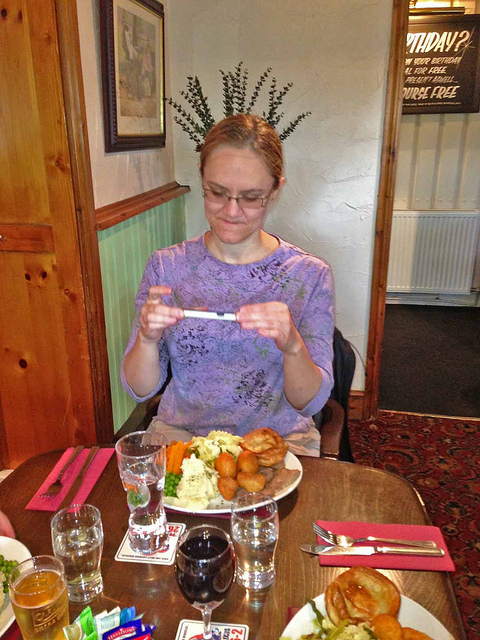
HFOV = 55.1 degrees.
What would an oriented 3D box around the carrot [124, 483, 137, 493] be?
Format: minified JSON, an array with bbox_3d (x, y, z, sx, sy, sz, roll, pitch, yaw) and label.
[{"bbox_3d":[-0.170,0.263,0.722,0.016,0.016,0.006,-3,2,32],"label":"carrot"}]

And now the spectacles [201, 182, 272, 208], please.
[{"bbox_3d":[-0.014,-0.328,1.212,0.152,0.057,0.093,3,14,11],"label":"spectacles"}]

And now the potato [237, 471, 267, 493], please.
[{"bbox_3d":[0.019,0.293,0.844,0.042,0.016,0.032,25,58,34],"label":"potato"}]

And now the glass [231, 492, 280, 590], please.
[{"bbox_3d":[0.026,0.335,0.691,0.074,0.123,0.078,-4,-9,7],"label":"glass"}]

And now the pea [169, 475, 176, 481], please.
[{"bbox_3d":[-0.125,0.295,0.857,0.007,0.007,0.009,13,35,-15],"label":"pea"}]

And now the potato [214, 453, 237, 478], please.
[{"bbox_3d":[-0.026,0.272,0.857,0.031,0.043,0.033,-2,-18,-6],"label":"potato"}]

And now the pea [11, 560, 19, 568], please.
[{"bbox_3d":[-0.322,0.352,0.663,0.007,0.007,0.007,-13,40,-8],"label":"pea"}]

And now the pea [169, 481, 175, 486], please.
[{"bbox_3d":[-0.124,0.303,0.850,0.007,0.008,0.007,-7,-8,-4],"label":"pea"}]

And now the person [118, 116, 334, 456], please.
[{"bbox_3d":[-0.042,-0.086,1.280,0.586,0.953,0.656,2,6,12],"label":"person"}]

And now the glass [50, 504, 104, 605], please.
[{"bbox_3d":[-0.227,0.325,0.665,0.051,0.121,0.081,-7,14,-34],"label":"glass"}]

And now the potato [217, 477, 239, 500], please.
[{"bbox_3d":[-0.024,0.309,0.845,0.032,0.034,0.028,4,7,32],"label":"potato"}]

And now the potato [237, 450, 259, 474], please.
[{"bbox_3d":[0.013,0.270,0.873,0.029,0.032,0.039,7,38,6],"label":"potato"}]

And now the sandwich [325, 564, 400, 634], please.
[{"bbox_3d":[0.158,0.360,0.591,0.102,0.035,0.081,-2,6,-24],"label":"sandwich"}]

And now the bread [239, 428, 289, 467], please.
[{"bbox_3d":[0.049,0.250,0.920,0.081,0.031,0.077,38,51,21],"label":"bread"}]

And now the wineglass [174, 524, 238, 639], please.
[{"bbox_3d":[-0.042,0.336,0.583,0.089,0.195,0.091,-2,15,-4],"label":"wineglass"}]

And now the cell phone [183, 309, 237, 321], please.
[{"bbox_3d":[-0.069,-0.010,1.013,0.109,0.026,0.116,0,5,-12],"label":"cell phone"}]

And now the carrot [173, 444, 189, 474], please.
[{"bbox_3d":[-0.113,0.270,0.899,0.014,0.042,0.061,2,6,11],"label":"carrot"}]
